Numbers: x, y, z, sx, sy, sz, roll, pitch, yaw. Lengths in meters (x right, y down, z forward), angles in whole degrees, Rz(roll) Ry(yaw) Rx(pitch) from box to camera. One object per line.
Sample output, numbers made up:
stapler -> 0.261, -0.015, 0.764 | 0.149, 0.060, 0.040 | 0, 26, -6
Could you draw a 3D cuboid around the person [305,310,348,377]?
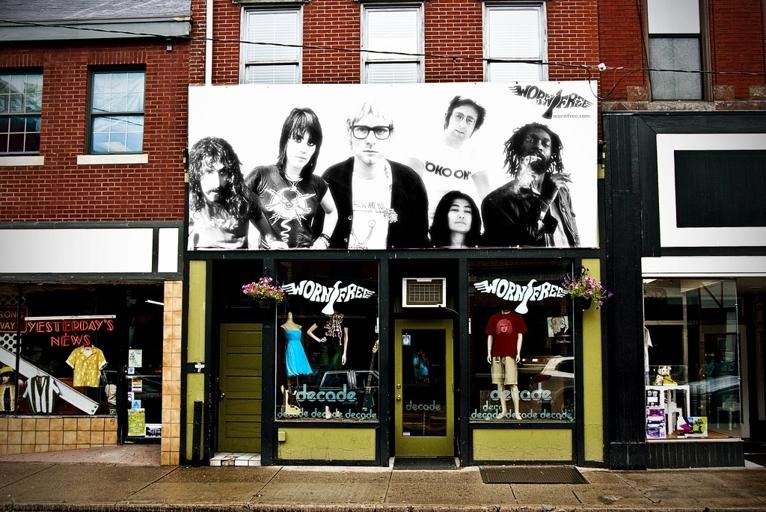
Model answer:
person -> -1.225, 2.026, 21.778 | 0.860, 2.033, 0.598 | 1, 18, 6
